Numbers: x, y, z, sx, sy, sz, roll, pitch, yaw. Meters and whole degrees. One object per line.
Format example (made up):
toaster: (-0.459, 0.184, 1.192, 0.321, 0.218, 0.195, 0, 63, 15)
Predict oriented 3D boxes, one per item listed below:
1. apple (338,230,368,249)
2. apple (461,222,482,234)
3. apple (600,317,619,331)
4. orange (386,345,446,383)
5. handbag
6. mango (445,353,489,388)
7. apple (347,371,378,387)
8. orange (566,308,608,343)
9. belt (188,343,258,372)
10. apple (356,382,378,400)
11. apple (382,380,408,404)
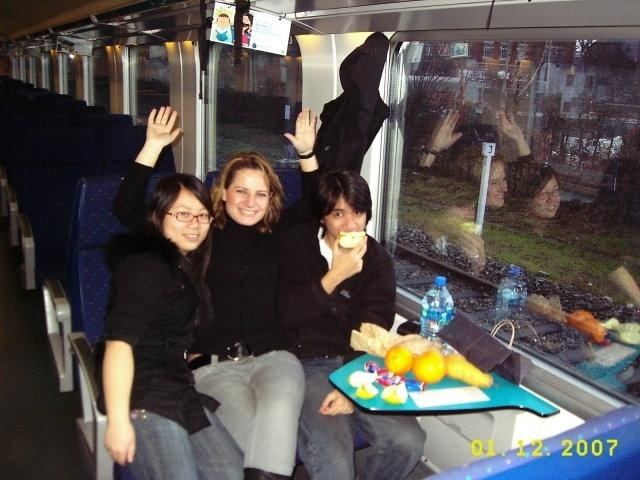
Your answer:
apple: (0.140, 0.006, 1.996, 0.121, 0.077, 0.096, 1, 18, -3)
apple: (0.787, -0.062, 2.412, 0.020, 0.051, 0.090, -3, 17, -30)
apple: (1.176, 0.340, 1.889, 0.036, 0.042, 0.047, -2, 6, -10)
orange: (0.364, 0.463, 1.759, 0.199, 0.101, 0.117, 6, 20, 10)
handbag: (0.629, 0.417, 1.822, 0.317, 0.113, 0.237, 39, 7, 38)
mango: (0.554, 0.500, 1.769, 0.163, 0.062, 0.082, 27, 52, 30)
apple: (0.156, 0.512, 1.716, 0.085, 0.021, 0.049, -7, 37, -9)
orange: (1.139, 0.364, 1.987, 0.048, 0.096, 0.134, -38, 13, 4)
belt: (-0.433, 0.497, 1.996, 0.176, 0.048, 0.128, -14, -1, 11)
apple: (0.166, 0.540, 1.669, 0.080, 0.035, 0.053, -5, 20, -21)
apple: (0.264, 0.546, 1.656, 0.088, 0.042, 0.075, -1, 19, -10)
